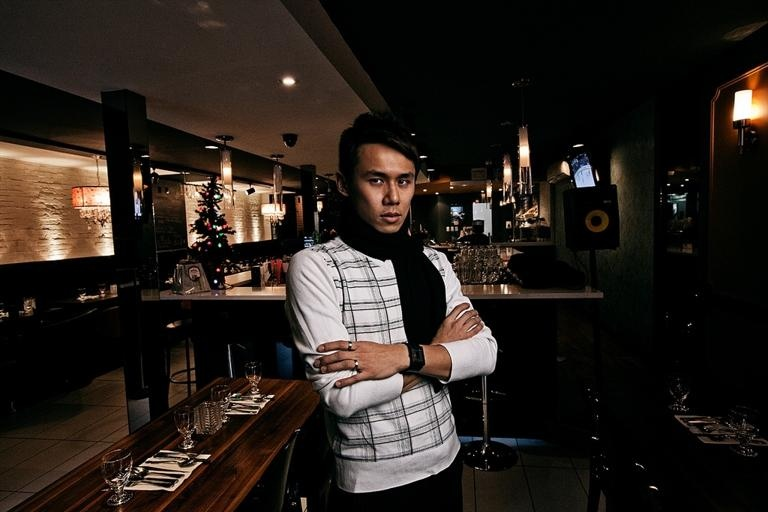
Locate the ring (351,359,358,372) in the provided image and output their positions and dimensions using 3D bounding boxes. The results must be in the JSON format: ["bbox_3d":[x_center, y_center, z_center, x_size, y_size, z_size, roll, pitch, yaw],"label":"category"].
[{"bbox_3d":[-0.191,0.700,3.283,0.045,0.073,0.010,-2,3,-4],"label":"ring"}]

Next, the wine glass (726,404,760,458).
[{"bbox_3d":[3.017,1.468,4.321,0.214,0.332,0.311,0,4,29],"label":"wine glass"}]

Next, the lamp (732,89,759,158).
[{"bbox_3d":[3.712,-1.392,5.284,0.194,0.636,0.228,1,5,43],"label":"lamp"}]

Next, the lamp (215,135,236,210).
[{"bbox_3d":[-2.443,-1.253,7.903,0.245,1.023,1.488,-3,3,-17],"label":"lamp"}]

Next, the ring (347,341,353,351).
[{"bbox_3d":[-0.226,0.575,3.302,0.035,0.056,0.028,-2,3,-5],"label":"ring"}]

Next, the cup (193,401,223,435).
[{"bbox_3d":[-1.413,1.293,4.147,0.229,0.211,0.224,-1,-2,0],"label":"cup"}]

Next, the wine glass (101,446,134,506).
[{"bbox_3d":[-1.924,1.575,3.720,0.193,0.329,0.315,-3,4,-27],"label":"wine glass"}]

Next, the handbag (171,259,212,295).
[{"bbox_3d":[-2.300,0.272,6.226,0.331,0.402,0.426,-2,-4,38],"label":"handbag"}]

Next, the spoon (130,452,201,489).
[{"bbox_3d":[-1.628,1.574,3.781,0.376,0.049,0.212,3,19,7],"label":"spoon"}]

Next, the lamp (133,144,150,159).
[{"bbox_3d":[-2.700,-1.153,5.673,0.081,0.136,0.150,18,31,31],"label":"lamp"}]
